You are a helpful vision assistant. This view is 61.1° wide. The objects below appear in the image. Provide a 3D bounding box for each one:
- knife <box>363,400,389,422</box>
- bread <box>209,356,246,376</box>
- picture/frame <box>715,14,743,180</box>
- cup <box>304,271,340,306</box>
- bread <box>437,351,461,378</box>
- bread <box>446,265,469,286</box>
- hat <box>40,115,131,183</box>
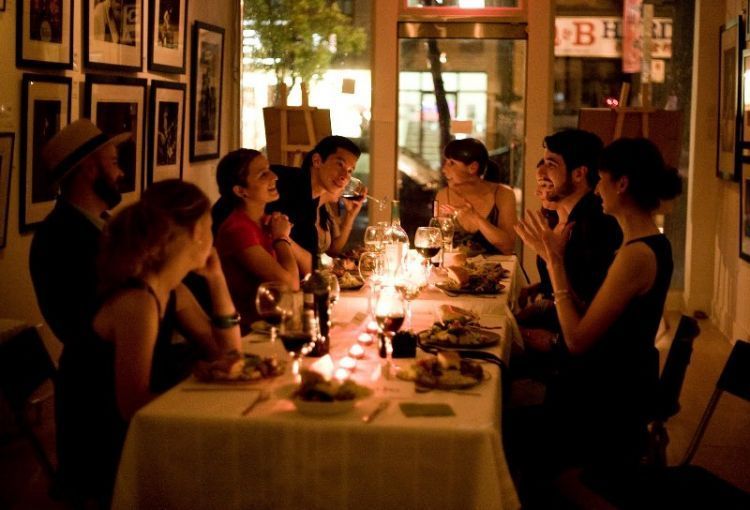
[{"bbox_3d":[0.003,0.518,2.111,0.028,0.031,0.149,-5,7,16],"label":"knife"},{"bbox_3d":[-0.538,0.402,2.305,0.081,0.031,0.063,-8,13,10],"label":"bread"},{"bbox_3d":[3.239,-1.419,5.813,0.184,1.434,1.051,4,11,26],"label":"picture/frame"},{"bbox_3d":[-0.206,0.124,2.618,0.141,0.152,0.147,0,8,0],"label":"cup"},{"bbox_3d":[0.272,0.403,2.351,0.060,0.028,0.083,6,25,-6],"label":"bread"},{"bbox_3d":[0.478,0.115,3.681,0.079,0.051,0.128,27,3,-2],"label":"bread"},{"bbox_3d":[-1.560,-0.578,3.380,0.387,0.141,0.344,-43,8,-17],"label":"hat"}]
